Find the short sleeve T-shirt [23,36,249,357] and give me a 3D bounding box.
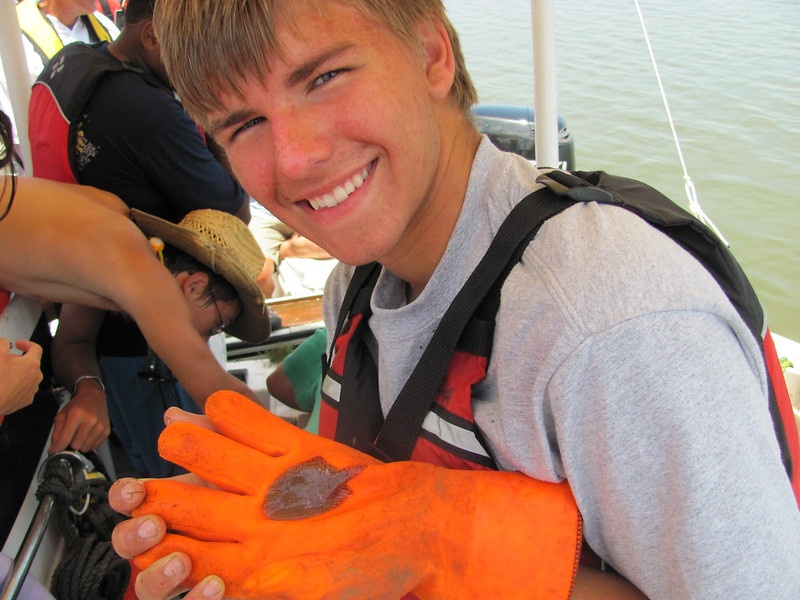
[{"bbox_3d":[-0.972,-0.349,2.497,0.637,1.076,0.825,-34,47,-26],"label":"short sleeve T-shirt"}]
